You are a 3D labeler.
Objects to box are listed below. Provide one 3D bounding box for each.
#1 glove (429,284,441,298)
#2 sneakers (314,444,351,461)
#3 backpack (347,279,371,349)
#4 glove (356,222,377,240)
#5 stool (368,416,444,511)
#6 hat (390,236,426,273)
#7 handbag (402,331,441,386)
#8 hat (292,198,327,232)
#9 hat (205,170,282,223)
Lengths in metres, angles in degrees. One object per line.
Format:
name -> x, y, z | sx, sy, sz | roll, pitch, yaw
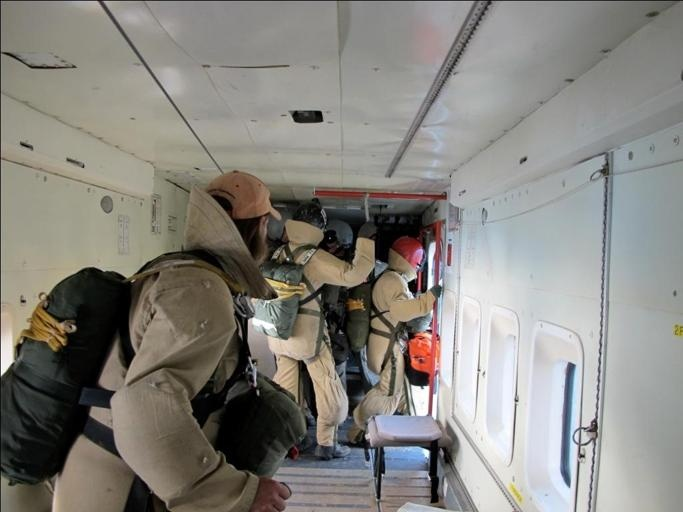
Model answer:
glove -> 0.930, 0.331, 4.628 | 0.087, 0.106, 0.110 | 24, 22, 5
sneakers -> -0.081, 1.981, 4.787 | 0.403, 0.192, 0.134 | 2, 1, -34
backpack -> 0.190, 0.630, 5.189 | 0.237, 0.711, 0.580 | 5, -22, -7
glove -> 0.262, -0.259, 4.645 | 0.176, 0.225, 0.233 | 3, -10, 0
stool -> 0.533, 1.693, 3.905 | 0.498, 0.511, 0.672 | -1, -10, 5
hat -> 0.794, -0.024, 5.285 | 0.406, 0.428, 0.301 | -2, 9, -23
handbag -> 0.857, 1.139, 5.066 | 0.411, 0.585, 0.537 | 2, 1, 4
hat -> -0.377, -0.430, 4.874 | 0.301, 0.386, 0.391 | 5, 5, 18
hat -> -0.475, -0.270, 2.298 | 0.293, 0.176, 0.213 | 2, 22, -45
